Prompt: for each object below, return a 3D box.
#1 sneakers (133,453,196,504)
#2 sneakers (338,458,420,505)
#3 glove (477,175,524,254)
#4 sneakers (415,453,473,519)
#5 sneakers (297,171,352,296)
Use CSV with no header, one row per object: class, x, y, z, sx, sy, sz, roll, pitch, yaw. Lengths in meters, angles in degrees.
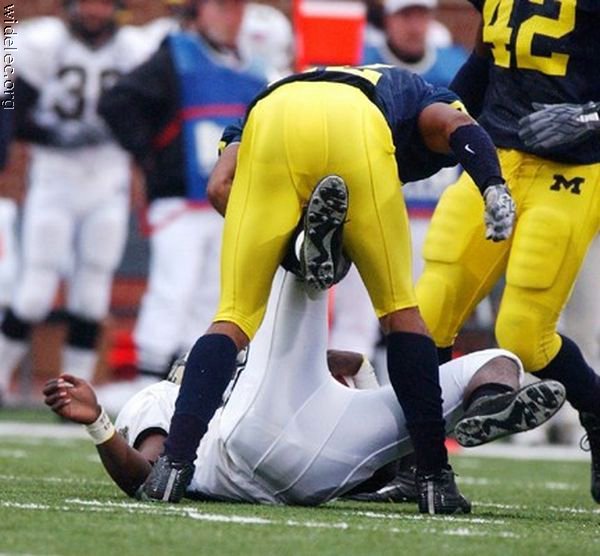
sneakers,-0.349,0.521,2.834,0.067,0.092,0.203,15,-24,-13
sneakers,0.237,0.639,3.485,0.300,0.153,0.107,-3,-14,13
glove,0.507,-0.171,2.808,0.075,0.152,0.049,-6,-16,21
sneakers,0.382,0.581,2.946,0.069,0.108,0.219,-2,-2,18
sneakers,0.055,-0.126,2.952,0.104,0.339,0.154,7,2,-9
